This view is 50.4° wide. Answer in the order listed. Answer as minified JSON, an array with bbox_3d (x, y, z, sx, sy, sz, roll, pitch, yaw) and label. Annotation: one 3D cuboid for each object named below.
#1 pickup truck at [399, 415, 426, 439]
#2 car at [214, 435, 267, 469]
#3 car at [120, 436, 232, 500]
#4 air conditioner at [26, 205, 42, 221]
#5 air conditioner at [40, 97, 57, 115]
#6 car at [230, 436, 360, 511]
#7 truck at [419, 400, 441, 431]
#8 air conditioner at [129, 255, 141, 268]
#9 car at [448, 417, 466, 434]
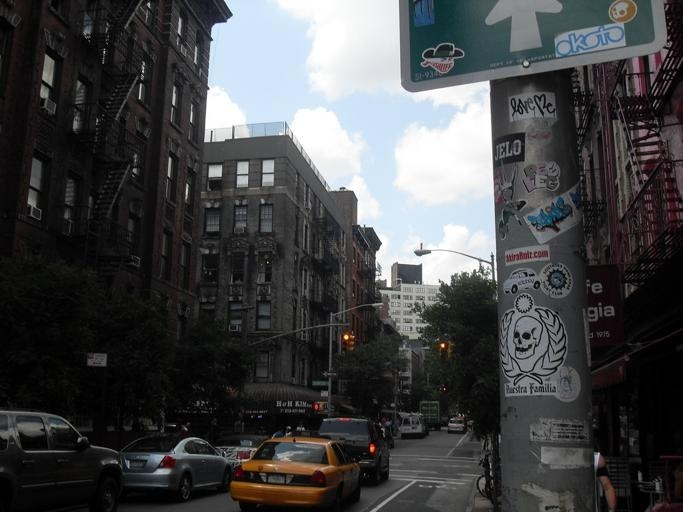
[{"bbox_3d":[7.078,16.691,70.819,1.802,2.598,5.069,-4,-18,15],"label":"pickup truck"},{"bbox_3d":[-3.579,6.718,25.154,0.884,0.777,2.192,-2,-22,3],"label":"car"},{"bbox_3d":[-4.367,5.795,19.669,1.317,1.697,3.231,-9,-19,28],"label":"car"},{"bbox_3d":[-10.941,-1.516,25.824,0.316,0.502,0.656,-2,-9,7],"label":"air conditioner"},{"bbox_3d":[-10.741,-5.501,26.591,0.376,0.594,0.760,1,-2,8],"label":"air conditioner"},{"bbox_3d":[-0.984,5.067,16.905,3.160,1.695,2.166,6,-18,-20],"label":"car"},{"bbox_3d":[11.659,21.031,95.429,2.156,3.081,4.440,-1,-15,4],"label":"truck"},{"bbox_3d":[-8.939,0.240,31.498,0.251,0.594,0.731,-2,-7,5],"label":"air conditioner"},{"bbox_3d":[13.003,19.372,82.207,1.765,1.609,3.306,-1,-17,3],"label":"car"}]
